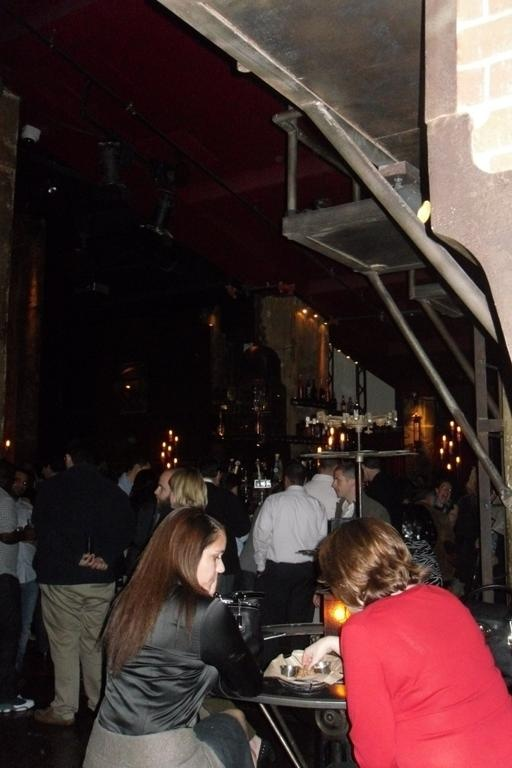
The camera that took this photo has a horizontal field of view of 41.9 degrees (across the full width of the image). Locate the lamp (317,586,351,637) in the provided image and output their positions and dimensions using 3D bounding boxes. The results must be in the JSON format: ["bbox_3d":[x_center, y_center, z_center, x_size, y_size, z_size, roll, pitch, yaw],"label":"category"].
[{"bbox_3d":[0.259,0.746,2.150,0.078,0.143,0.242,2,-6,-2],"label":"lamp"}]

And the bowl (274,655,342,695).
[{"bbox_3d":[0.139,0.822,1.915,0.211,0.043,0.227,2,-6,0],"label":"bowl"}]

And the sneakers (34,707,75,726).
[{"bbox_3d":[-1.055,1.732,3.483,0.166,0.067,0.093,10,-9,15],"label":"sneakers"}]

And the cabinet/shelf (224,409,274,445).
[{"bbox_3d":[-0.121,0.534,8.878,1.024,0.485,0.371,-4,-9,41],"label":"cabinet/shelf"}]

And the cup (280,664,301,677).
[{"bbox_3d":[0.097,0.817,1.911,0.035,0.025,0.030,1,-8,1],"label":"cup"}]

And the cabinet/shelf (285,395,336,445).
[{"bbox_3d":[0.607,0.446,7.971,0.221,0.524,0.648,-9,-14,35],"label":"cabinet/shelf"}]
